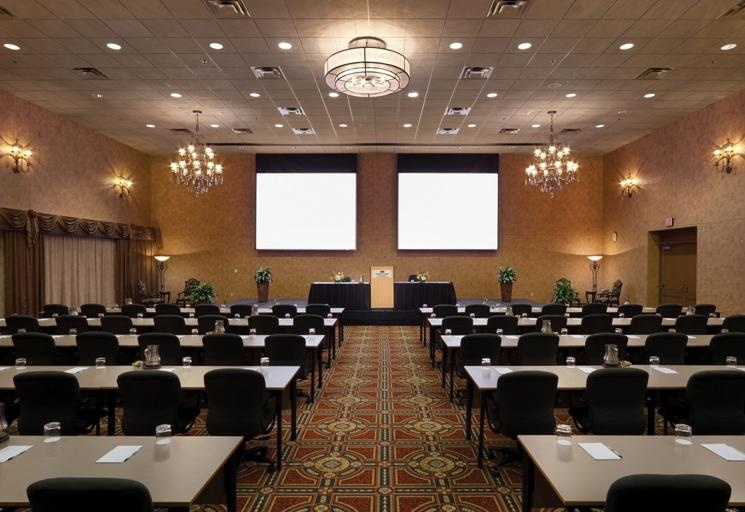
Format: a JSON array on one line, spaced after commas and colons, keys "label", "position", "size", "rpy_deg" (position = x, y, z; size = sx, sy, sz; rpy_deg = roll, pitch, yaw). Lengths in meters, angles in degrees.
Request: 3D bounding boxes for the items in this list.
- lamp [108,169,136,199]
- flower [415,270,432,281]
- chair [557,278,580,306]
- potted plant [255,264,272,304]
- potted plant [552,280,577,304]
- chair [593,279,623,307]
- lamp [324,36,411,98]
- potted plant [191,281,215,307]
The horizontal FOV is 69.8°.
[{"label": "lamp", "position": [-8.293, -2.312, 17.477], "size": [0.825, 1.038, 0.793], "rpy_deg": [-3, 6, -38]}, {"label": "flower", "position": [1.616, 0.657, 16.907], "size": [0.418, 0.257, 0.385], "rpy_deg": [1, -3, 0]}, {"label": "chair", "position": [6.165, 1.173, 16.897], "size": [0.946, 0.868, 0.830], "rpy_deg": [0, -4, 3]}, {"label": "potted plant", "position": [-3.651, 1.029, 17.811], "size": [0.452, 1.150, 0.864], "rpy_deg": [-2, 14, -12]}, {"label": "potted plant", "position": [6.098, 1.172, 16.993], "size": [0.834, 0.933, 0.865], "rpy_deg": [0, -4, 1]}, {"label": "chair", "position": [7.679, 1.237, 17.351], "size": [0.959, 1.144, 0.881], "rpy_deg": [0, -2, 6]}, {"label": "lamp", "position": [-0.248, -3.713, 10.176], "size": [1.354, 0.549, 1.263], "rpy_deg": [2, -7, -16]}, {"label": "potted plant", "position": [-5.135, 1.194, 16.214], "size": [1.084, 0.799, 0.996], "rpy_deg": [1, -5, -8]}]
